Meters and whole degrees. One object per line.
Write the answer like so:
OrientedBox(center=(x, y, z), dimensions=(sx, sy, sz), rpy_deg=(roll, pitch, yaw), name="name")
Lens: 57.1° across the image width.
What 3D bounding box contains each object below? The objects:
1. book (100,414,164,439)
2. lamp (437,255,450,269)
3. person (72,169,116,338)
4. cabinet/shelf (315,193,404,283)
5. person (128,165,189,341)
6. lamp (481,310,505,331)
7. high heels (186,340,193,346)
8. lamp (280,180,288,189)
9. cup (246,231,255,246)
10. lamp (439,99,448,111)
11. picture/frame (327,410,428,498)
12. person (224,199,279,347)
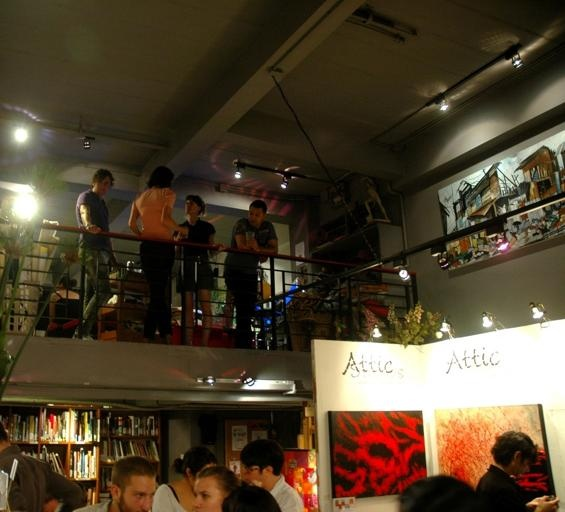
OrientedBox(center=(-2.276, 2.418, 7.796), dimensions=(0.971, 0.342, 0.900), rpy_deg=(4, -6, -21), name="book")
OrientedBox(center=(1.696, 0.061, 5.445), dimensions=(0.102, 0.132, 0.141), rpy_deg=(-32, -5, -6), name="lamp")
OrientedBox(center=(-2.009, -0.051, 5.508), dimensions=(0.433, 1.957, 1.218), rpy_deg=(4, -17, -18), name="person")
OrientedBox(center=(1.195, -0.268, 7.795), dimensions=(0.328, 1.068, 1.158), rpy_deg=(14, -22, -28), name="cabinet/shelf")
OrientedBox(center=(-1.385, -0.083, 5.646), dimensions=(0.555, 2.070, 0.743), rpy_deg=(5, -17, -20), name="person")
OrientedBox(center=(2.489, 0.751, 6.116), dimensions=(0.334, 0.156, 0.112), rpy_deg=(39, -45, -19), name="lamp")
OrientedBox(center=(-1.054, 0.976, 5.845), dimensions=(0.078, 0.079, 0.080), rpy_deg=(-5, -13, 28), name="high heels")
OrientedBox(center=(0.028, -1.054, 7.770), dimensions=(0.104, 0.078, 0.186), rpy_deg=(11, 27, -6), name="lamp")
OrientedBox(center=(-0.389, -0.203, 6.195), dimensions=(0.126, 0.211, 0.063), rpy_deg=(1, -32, -5), name="cup")
OrientedBox(center=(2.068, -1.922, 6.619), dimensions=(0.032, 0.141, 0.141), rpy_deg=(13, 7, 21), name="lamp")
OrientedBox(center=(0.920, 1.913, 5.051), dimensions=(1.096, 0.795, 0.065), rpy_deg=(8, -18, -29), name="picture/frame")
OrientedBox(center=(-0.367, 0.188, 6.059), dimensions=(0.621, 1.827, 0.699), rpy_deg=(1, -16, -6), name="person")
